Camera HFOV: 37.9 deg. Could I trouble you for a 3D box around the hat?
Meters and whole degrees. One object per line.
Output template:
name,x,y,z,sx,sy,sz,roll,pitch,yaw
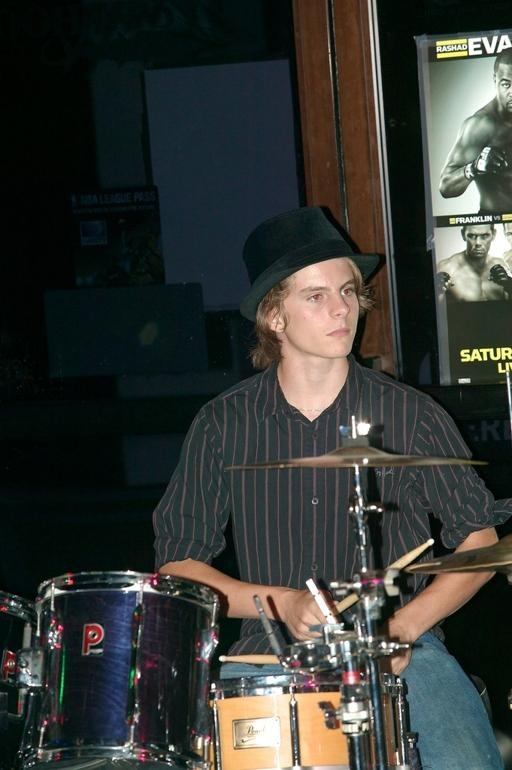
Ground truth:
hat,0.148,-0.334,2.295,0.373,0.206,0.400,-25,-6,-13

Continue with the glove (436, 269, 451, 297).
glove,0.682,-0.372,2.673,0.055,0.072,0.026,-2,8,10
